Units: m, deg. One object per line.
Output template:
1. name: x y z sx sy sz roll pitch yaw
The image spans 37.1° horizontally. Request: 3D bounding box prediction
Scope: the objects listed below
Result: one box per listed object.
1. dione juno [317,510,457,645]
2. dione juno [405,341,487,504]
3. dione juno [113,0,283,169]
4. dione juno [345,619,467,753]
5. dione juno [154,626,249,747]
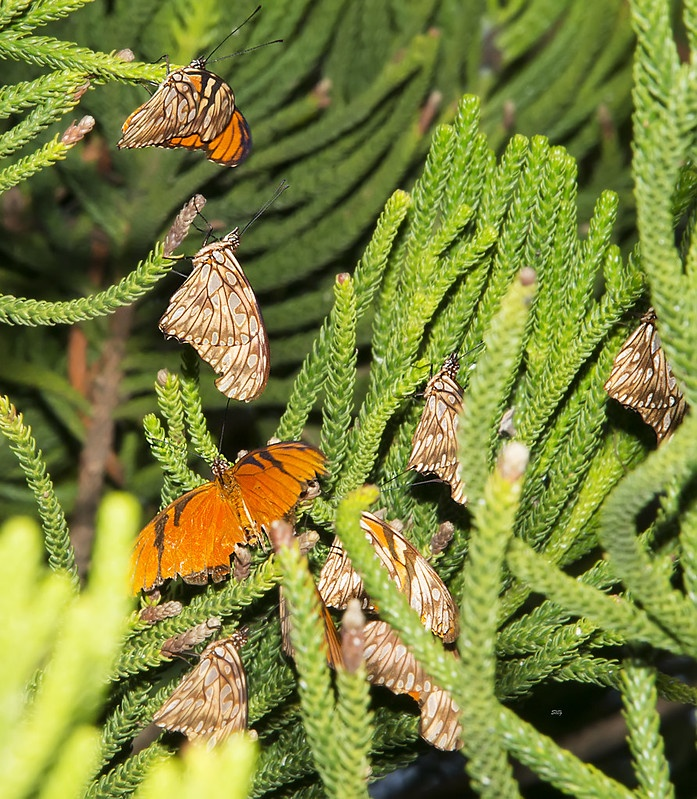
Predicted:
1. dione juno: 0.084 0.293 1.702 0.212 0.095 0.228 53 22 -1
2. dione juno: 0.170 0.020 1.878 0.108 0.070 0.348 17 50 -8
3. dione juno: -0.307 -0.584 2.031 0.252 0.339 0.188 18 -19 -39
4. dione juno: 0.108 0.452 1.706 0.085 0.220 0.158 -42 17 -35
5. dione juno: -0.220 0.466 1.667 0.137 0.156 0.055 33 3 4
